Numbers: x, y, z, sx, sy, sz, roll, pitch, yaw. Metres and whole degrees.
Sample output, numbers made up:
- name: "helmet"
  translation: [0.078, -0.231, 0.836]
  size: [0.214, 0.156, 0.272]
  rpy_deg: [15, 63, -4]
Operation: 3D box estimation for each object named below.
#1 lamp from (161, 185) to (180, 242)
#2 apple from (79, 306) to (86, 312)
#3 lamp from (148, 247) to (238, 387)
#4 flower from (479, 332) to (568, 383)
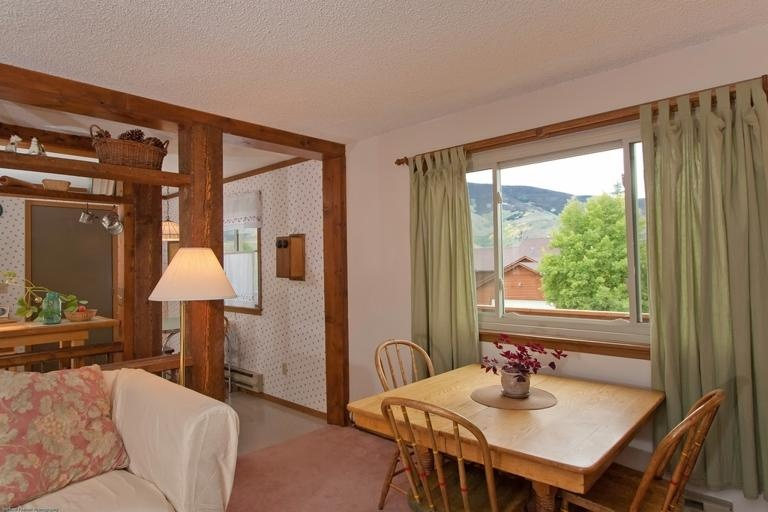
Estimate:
- name: "lamp"
  translation: [-2.672, -0.563, 6.323]
  size: [0.336, 0.664, 0.292]
  rpy_deg: [4, 44, -17]
- name: "apple"
  translation: [-2.779, 0.492, 4.709]
  size: [0.035, 0.031, 0.039]
  rpy_deg: [-12, 21, 23]
- name: "lamp"
  translation: [-1.455, 0.500, 3.947]
  size: [0.583, 1.133, 0.593]
  rpy_deg: [-6, 7, -23]
- name: "flower"
  translation: [1.041, 0.750, 3.803]
  size: [0.411, 0.201, 0.580]
  rpy_deg: [-2, -6, 21]
